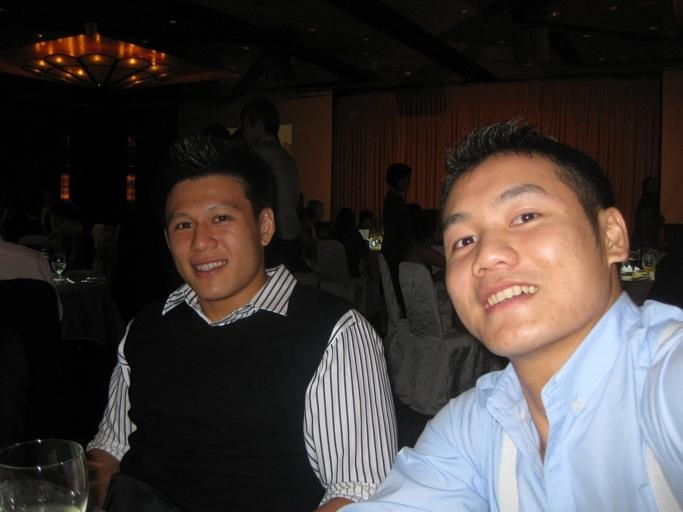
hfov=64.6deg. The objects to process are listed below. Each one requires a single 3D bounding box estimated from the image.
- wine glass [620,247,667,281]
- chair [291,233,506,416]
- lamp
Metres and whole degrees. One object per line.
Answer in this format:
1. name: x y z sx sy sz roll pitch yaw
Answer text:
1. wine glass: 1.977 0.064 3.544 0.153 0.070 0.212 -3 38 35
2. chair: 0.351 0.553 4.180 1.075 1.533 1.304 -16 21 -20
3. lamp: -4.026 -3.189 8.904 2.253 0.581 1.799 0 1 -2
